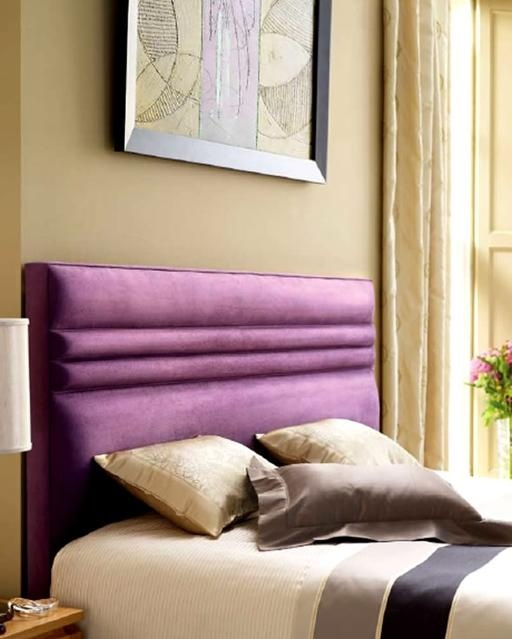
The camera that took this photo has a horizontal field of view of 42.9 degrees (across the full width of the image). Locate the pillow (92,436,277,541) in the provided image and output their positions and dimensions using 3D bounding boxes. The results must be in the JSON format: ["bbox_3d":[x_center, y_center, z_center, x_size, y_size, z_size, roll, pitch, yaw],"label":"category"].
[{"bbox_3d":[-0.172,0.413,1.731,0.383,0.150,0.355,4,7,30],"label":"pillow"}]
